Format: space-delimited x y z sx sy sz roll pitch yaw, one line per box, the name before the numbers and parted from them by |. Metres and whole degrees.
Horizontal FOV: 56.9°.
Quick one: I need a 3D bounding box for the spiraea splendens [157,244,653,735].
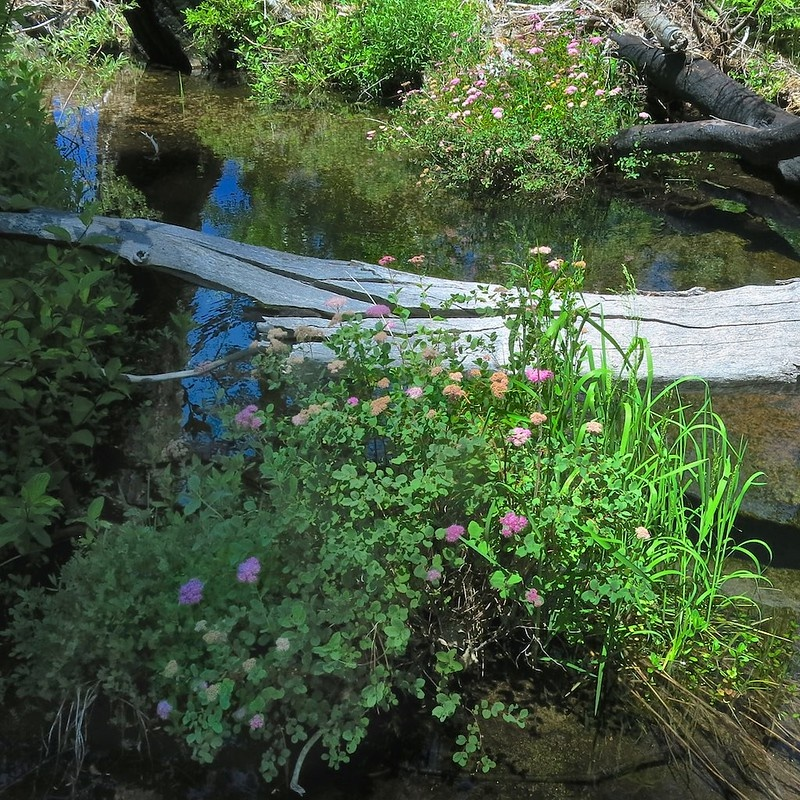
spiraea splendens | 0.250 0.548 3.326 2.197 0.991 1.769 0 60 5
